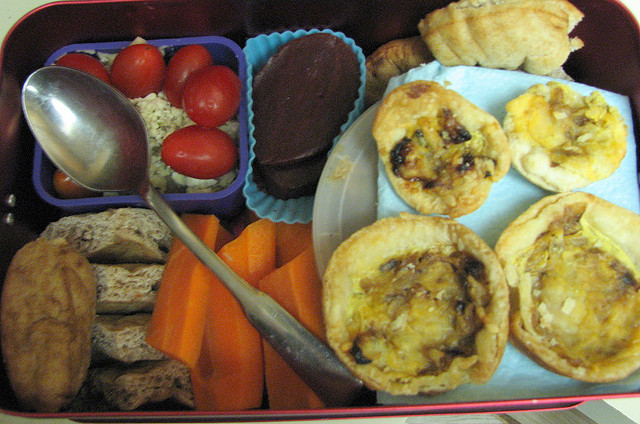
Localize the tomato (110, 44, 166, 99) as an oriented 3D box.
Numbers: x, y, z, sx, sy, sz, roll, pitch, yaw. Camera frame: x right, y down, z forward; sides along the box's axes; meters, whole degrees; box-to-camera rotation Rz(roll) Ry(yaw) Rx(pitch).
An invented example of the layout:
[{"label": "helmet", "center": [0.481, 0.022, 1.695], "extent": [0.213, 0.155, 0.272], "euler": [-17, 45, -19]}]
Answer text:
[{"label": "tomato", "center": [-0.581, -0.458, 2.029], "extent": [0.219, 0.159, 0.162], "euler": [5, -1, -11]}]

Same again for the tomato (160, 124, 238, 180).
[{"label": "tomato", "center": [-0.374, -0.186, 1.933], "extent": [0.222, 0.144, 0.121], "euler": [3, 46, -10]}]

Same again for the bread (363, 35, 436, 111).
[{"label": "bread", "center": [0.238, -0.506, 2.147], "extent": [0.193, 0.262, 0.088], "euler": [68, 24, -5]}]

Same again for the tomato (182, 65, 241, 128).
[{"label": "tomato", "center": [-0.342, -0.363, 1.966], "extent": [0.174, 0.150, 0.138], "euler": [0, 46, -10]}]

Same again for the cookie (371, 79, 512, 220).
[{"label": "cookie", "center": [0.338, -0.179, 1.778], "extent": [0.402, 0.352, 0.102], "euler": [65, 17, -1]}]

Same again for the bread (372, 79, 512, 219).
[{"label": "bread", "center": [0.344, -0.186, 1.777], "extent": [0.404, 0.349, 0.102], "euler": [60, 18, 0]}]

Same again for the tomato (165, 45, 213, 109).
[{"label": "tomato", "center": [-0.433, -0.458, 2.054], "extent": [0.139, 0.202, 0.129], "euler": [26, -2, -40]}]

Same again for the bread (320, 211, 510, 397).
[{"label": "bread", "center": [0.287, 0.208, 1.808], "extent": [0.560, 0.504, 0.178], "euler": [-3, 3, 8]}]

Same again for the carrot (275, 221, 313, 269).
[{"label": "carrot", "center": [-0.067, 0.115, 2.102], "extent": [0.107, 0.135, 0.160], "euler": [-3, 32, 3]}]

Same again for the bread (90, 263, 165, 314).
[{"label": "bread", "center": [-0.591, 0.229, 1.905], "extent": [0.196, 0.054, 0.165], "euler": [4, 83, -13]}]

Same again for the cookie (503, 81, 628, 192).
[{"label": "cookie", "center": [0.708, -0.220, 1.793], "extent": [0.340, 0.099, 0.304], "euler": [-3, 80, 6]}]

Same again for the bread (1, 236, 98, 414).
[{"label": "bread", "center": [-0.821, 0.336, 1.879], "extent": [0.274, 0.325, 0.442], "euler": [5, 44, -5]}]

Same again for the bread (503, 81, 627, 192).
[{"label": "bread", "center": [0.698, -0.222, 1.844], "extent": [0.339, 0.098, 0.305], "euler": [-13, 79, 4]}]

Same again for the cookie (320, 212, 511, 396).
[{"label": "cookie", "center": [0.268, 0.221, 1.762], "extent": [0.560, 0.503, 0.177], "euler": [-3, 3, 10]}]
